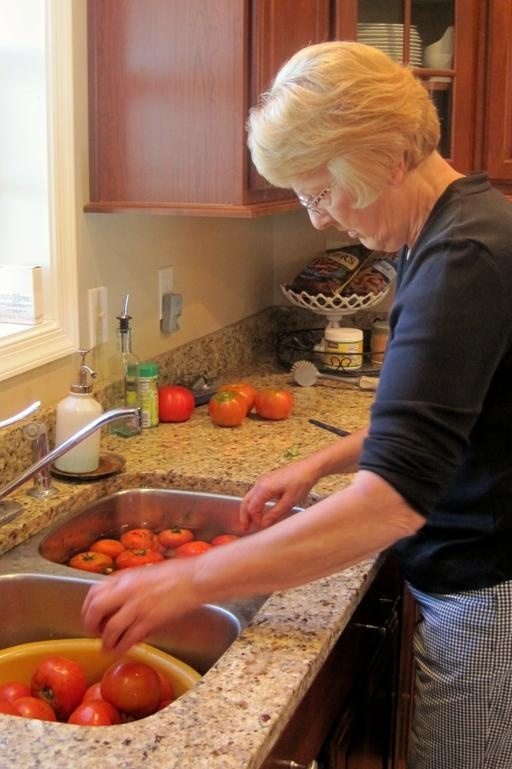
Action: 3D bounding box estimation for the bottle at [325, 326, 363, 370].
[{"bbox_3d":[0.260,-0.115,2.027,0.130,0.128,0.129,1,15,-2],"label":"bottle"}]

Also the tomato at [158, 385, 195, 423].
[{"bbox_3d":[-0.194,0.049,1.594,0.086,0.080,0.086,2,5,5],"label":"tomato"}]

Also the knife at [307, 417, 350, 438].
[{"bbox_3d":[0.169,0.103,1.495,0.016,0.014,0.117,10,7,-45],"label":"knife"}]
